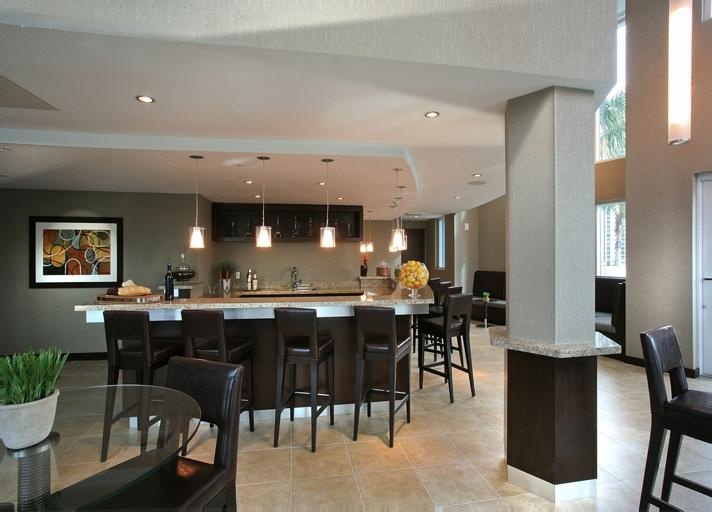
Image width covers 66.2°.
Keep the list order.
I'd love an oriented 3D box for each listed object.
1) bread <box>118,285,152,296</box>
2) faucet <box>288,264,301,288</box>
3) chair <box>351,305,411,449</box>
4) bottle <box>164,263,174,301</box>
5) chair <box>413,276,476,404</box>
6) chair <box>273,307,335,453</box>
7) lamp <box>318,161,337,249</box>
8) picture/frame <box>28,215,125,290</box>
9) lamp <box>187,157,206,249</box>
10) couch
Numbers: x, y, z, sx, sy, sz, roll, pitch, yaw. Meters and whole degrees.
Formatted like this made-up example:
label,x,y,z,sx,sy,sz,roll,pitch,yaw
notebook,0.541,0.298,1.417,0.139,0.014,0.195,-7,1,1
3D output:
label,x,y,z,sx,sy,sz,roll,pitch,yaw
bread,-2.292,0.358,5.631,0.316,0.113,0.161,0,-2,-24
faucet,-1.092,0.376,9.670,0.204,0.383,0.200,-1,-2,-11
chair,0.243,1.095,5.261,0.553,1.256,0.795,-2,-2,5
bottle,-1.998,0.274,5.792,0.097,0.387,0.519,-1,-2,-19
chair,1.083,1.020,6.584,0.644,1.141,1.778,-2,-2,10
chair,-0.495,1.109,5.180,0.589,1.260,0.807,-1,-2,-3
lamp,-0.336,-0.614,6.443,0.192,1.034,0.193,-6,8,-40
picture/frame,-3.873,-0.038,7.395,0.974,0.871,0.065,1,-2,-13
lamp,-1.747,-0.587,5.950,0.184,0.972,0.172,2,7,9
couch,3.099,0.797,9.158,0.969,0.819,4.344,-1,-3,-16
